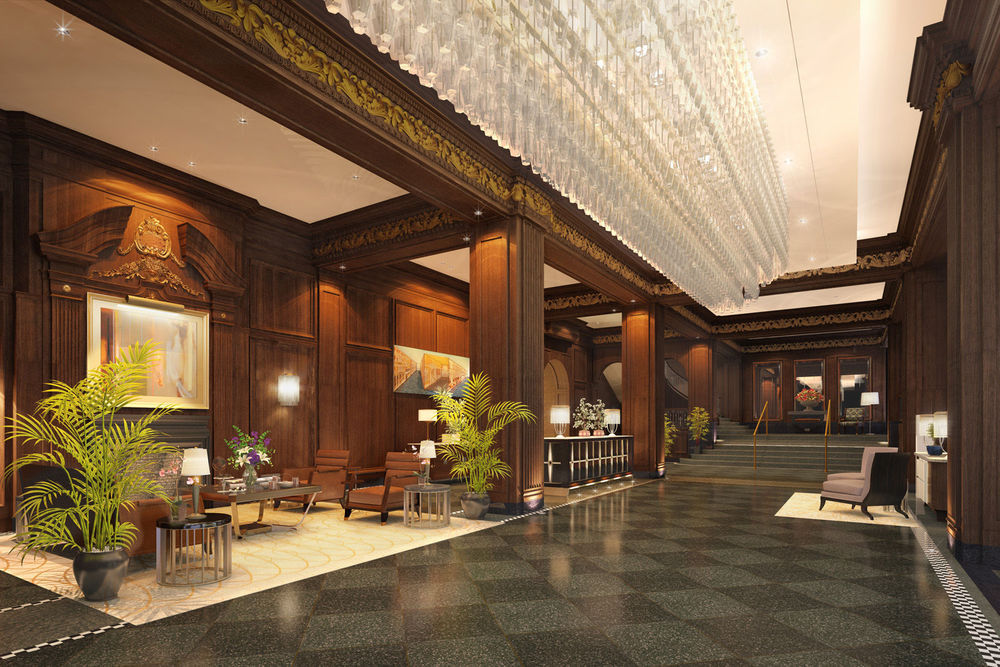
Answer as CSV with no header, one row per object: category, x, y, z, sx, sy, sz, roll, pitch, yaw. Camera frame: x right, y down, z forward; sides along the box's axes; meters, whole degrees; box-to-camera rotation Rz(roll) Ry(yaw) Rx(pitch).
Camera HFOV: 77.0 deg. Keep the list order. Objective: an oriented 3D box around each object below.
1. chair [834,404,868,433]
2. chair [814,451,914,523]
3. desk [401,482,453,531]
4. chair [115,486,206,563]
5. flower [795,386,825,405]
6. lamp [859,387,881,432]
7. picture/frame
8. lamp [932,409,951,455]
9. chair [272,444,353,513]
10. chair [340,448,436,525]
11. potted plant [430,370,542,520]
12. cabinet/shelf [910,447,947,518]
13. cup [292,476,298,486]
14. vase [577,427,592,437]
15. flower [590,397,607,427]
chair,12.770,3.178,23.096,1.076,1.228,0.872,-6,-15,40
chair,6.403,2.548,10.871,0.978,1.296,1.343,5,-7,-25
desk,-1.111,2.750,10.046,0.842,0.637,0.910,-1,-21,-3
chair,-4.131,2.445,7.836,0.880,1.106,0.844,-2,-6,42
flower,11.458,2.321,23.326,0.696,0.613,0.710,0,-3,-15
lamp,13.185,2.765,22.435,0.612,1.458,0.957,-2,-4,29
picture/frame,-5.302,0.256,9.389,0.228,1.826,1.922,-4,-6,31
lamp,7.666,1.712,10.930,0.149,0.698,1.258,-2,-4,37
chair,-3.113,2.506,11.059,0.961,1.355,1.303,-4,-10,29
chair,-1.795,2.490,10.245,1.186,1.280,1.280,-5,-7,39
potted plant,-0.286,1.828,10.799,2.184,2.750,1.972,1,-10,5
cabinet/shelf,7.131,2.489,10.482,0.350,0.684,1.258,0,-2,22
cup,-3.245,2.342,9.994,0.075,0.076,0.077,0,-6,0
vase,1.853,2.149,13.755,0.215,0.230,0.221,-2,1,-20
flower,2.255,1.853,14.324,0.369,0.535,0.433,-2,20,4
